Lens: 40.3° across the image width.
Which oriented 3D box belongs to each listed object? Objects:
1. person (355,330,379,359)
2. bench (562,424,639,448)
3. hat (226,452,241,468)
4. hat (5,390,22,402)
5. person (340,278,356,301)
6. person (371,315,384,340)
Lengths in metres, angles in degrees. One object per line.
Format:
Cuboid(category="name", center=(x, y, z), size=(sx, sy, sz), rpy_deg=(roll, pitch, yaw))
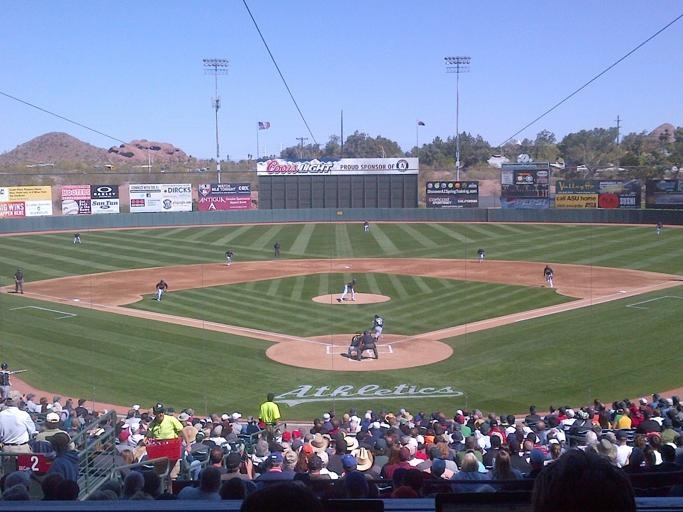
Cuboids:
Cuboid(category="person", center=(0.974, 3.478, 36.371), size=(0.859, 0.818, 1.117), rpy_deg=(-1, 0, 1))
Cuboid(category="bench", center=(6.329, 4.557, 23.840), size=(1.047, 0.334, 0.976), rpy_deg=(2, 0, -34))
Cuboid(category="hat", center=(-2.409, 4.613, 20.854), size=(0.324, 0.341, 0.344), rpy_deg=(6, -42, 2))
Cuboid(category="hat", center=(-8.893, 3.828, 25.139), size=(0.280, 0.196, 0.373), rpy_deg=(3, 15, -4))
Cuboid(category="person", center=(0.316, 1.826, 48.566), size=(0.761, 0.245, 1.060), rpy_deg=(7, -30, -4))
Cuboid(category="person", center=(1.530, 2.792, 38.010), size=(0.457, 0.421, 1.102), rpy_deg=(6, 35, -6))
